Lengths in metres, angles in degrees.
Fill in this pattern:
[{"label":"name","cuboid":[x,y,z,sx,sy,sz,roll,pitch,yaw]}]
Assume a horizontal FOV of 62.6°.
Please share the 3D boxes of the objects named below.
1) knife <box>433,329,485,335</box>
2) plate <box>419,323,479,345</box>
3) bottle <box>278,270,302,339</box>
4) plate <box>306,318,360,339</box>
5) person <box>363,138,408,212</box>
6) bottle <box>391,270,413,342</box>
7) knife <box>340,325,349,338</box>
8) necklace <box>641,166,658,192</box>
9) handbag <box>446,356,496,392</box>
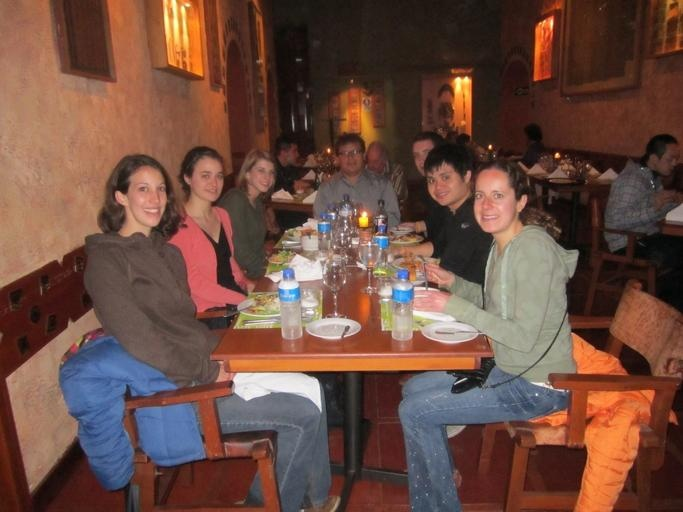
[{"label":"knife","cuboid":[0.568,0.366,2.730,0.023,0.023,0.207,-2,-1,-35]},{"label":"plate","cuboid":[0.528,0.368,2.725,0.275,0.046,0.202,-2,14,7]},{"label":"bottle","cuboid":[-0.259,0.221,2.778,0.113,0.313,0.245,-5,14,-5]},{"label":"plate","cuboid":[-0.042,0.355,2.758,0.265,0.051,0.194,-4,13,-3]},{"label":"person","cuboid":[0.395,-0.863,6.340,0.390,0.315,1.073,-3,44,6]},{"label":"bottle","cuboid":[0.288,0.224,2.721,0.107,0.320,0.203,-2,14,6]},{"label":"knife","cuboid":[0.017,0.360,2.693,0.018,0.012,0.081,24,21,-2]},{"label":"necklace","cuboid":[2.824,-0.719,5.190,0.218,0.123,0.171,9,42,-57]},{"label":"handbag","cuboid":[0.612,0.602,2.854,0.323,0.128,0.107,-11,21,-27]}]
